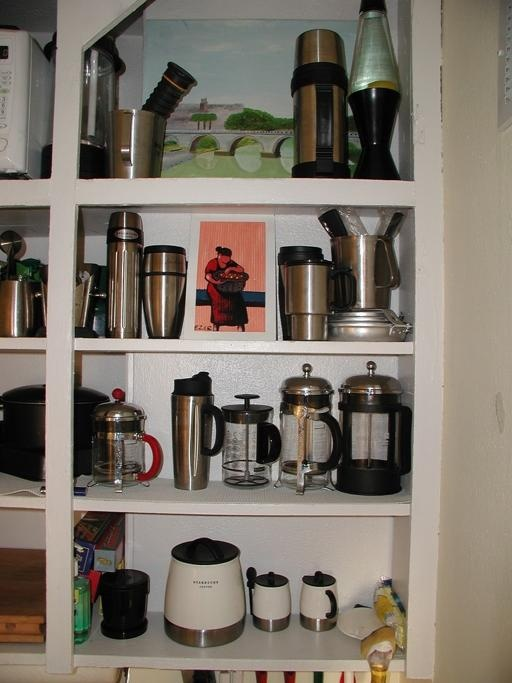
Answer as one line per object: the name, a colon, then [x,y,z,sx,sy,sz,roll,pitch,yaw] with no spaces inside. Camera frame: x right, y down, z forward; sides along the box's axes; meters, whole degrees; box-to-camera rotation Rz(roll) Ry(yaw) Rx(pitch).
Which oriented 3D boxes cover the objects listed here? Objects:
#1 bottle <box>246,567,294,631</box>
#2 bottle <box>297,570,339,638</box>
bottle: [0.024,0.595,1.525,0.091,0.136,0.121,7,-12,-37]
bottle: [0.130,0.592,1.472,0.073,0.120,0.125,1,2,-5]
